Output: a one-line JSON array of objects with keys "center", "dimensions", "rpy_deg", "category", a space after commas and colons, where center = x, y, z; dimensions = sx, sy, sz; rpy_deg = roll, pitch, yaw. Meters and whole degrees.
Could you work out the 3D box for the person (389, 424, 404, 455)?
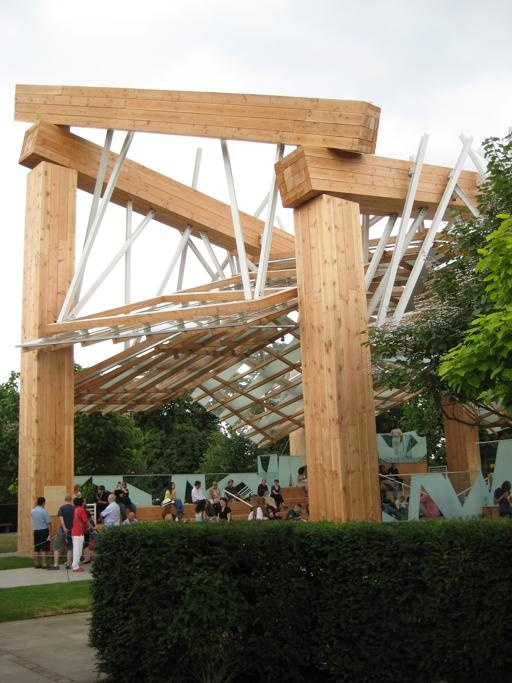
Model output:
[{"center": [5.541, 3.951, 28.974], "dimensions": [0.450, 0.989, 0.934], "rpy_deg": [-7, -8, 10], "category": "person"}]
